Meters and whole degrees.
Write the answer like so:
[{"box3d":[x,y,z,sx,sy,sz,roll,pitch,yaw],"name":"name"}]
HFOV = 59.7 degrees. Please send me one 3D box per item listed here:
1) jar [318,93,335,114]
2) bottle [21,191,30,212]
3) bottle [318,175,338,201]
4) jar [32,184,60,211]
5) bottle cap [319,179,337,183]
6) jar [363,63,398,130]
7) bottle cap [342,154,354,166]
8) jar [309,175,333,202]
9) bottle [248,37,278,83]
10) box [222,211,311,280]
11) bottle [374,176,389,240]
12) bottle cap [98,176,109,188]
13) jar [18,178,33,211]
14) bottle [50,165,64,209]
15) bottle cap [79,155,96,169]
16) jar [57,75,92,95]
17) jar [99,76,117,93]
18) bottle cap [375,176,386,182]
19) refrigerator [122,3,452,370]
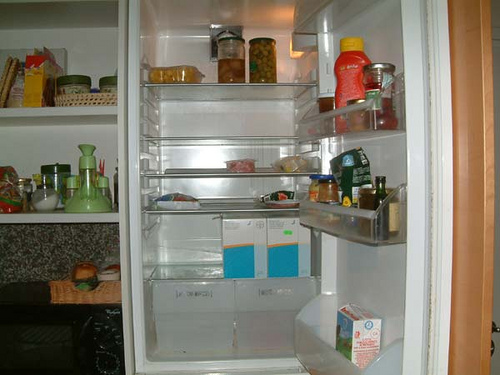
[{"box3d":[0.301,-0.331,1.708,0.069,0.066,0.070,-1,6,0],"name":"jar"},{"box3d":[-1.046,0.063,2.046,0.021,0.099,0.050,-2,1,-21],"name":"bottle"},{"box3d":[0.308,0.004,1.705,0.093,0.097,0.092,-7,8,-40],"name":"bottle"},{"box3d":[-0.921,0.047,1.996,0.115,0.109,0.116,0,1,0],"name":"jar"},{"box3d":[0.301,-0.026,1.664,0.065,0.010,0.014,-1,1,3],"name":"bottle cap"},{"box3d":[0.435,-0.301,1.469,0.127,0.207,0.129,-5,8,1],"name":"jar"},{"box3d":[0.359,-0.100,1.586,0.010,0.035,0.042,7,-8,-26],"name":"bottle cap"},{"box3d":[0.293,-0.002,1.753,0.097,0.106,0.095,0,-2,0],"name":"jar"},{"box3d":[0.062,-0.589,2.112,0.142,0.234,0.150,0,-8,0],"name":"bottle"},{"box3d":[0.071,0.225,2.050,0.417,0.313,0.331,0,6,-7],"name":"box"},{"box3d":[0.430,0.064,1.423,0.045,0.202,0.107,-1,1,17],"name":"bottle"},{"box3d":[-0.684,-0.025,2.043,0.047,0.052,0.047,0,4,-4],"name":"bottle cap"},{"box3d":[-1.046,0.034,2.050,0.063,0.161,0.069,-2,1,-40],"name":"jar"},{"box3d":[-0.932,-0.003,2.116,0.051,0.219,0.142,-2,1,-22],"name":"bottle"},{"box3d":[-0.700,-0.111,1.891,0.061,0.044,0.060,0,2,-10],"name":"bottle cap"},{"box3d":[-0.793,-0.463,1.956,0.104,0.072,0.105,0,3,0],"name":"jar"},{"box3d":[-0.634,-0.465,1.962,0.081,0.067,0.077,0,1,0],"name":"jar"},{"box3d":[0.431,-0.029,1.433,0.021,0.015,0.020,1,0,5],"name":"bottle cap"},{"box3d":[0.136,-0.035,1.954,1.424,1.301,0.841,-1,1,25],"name":"refrigerator"}]
